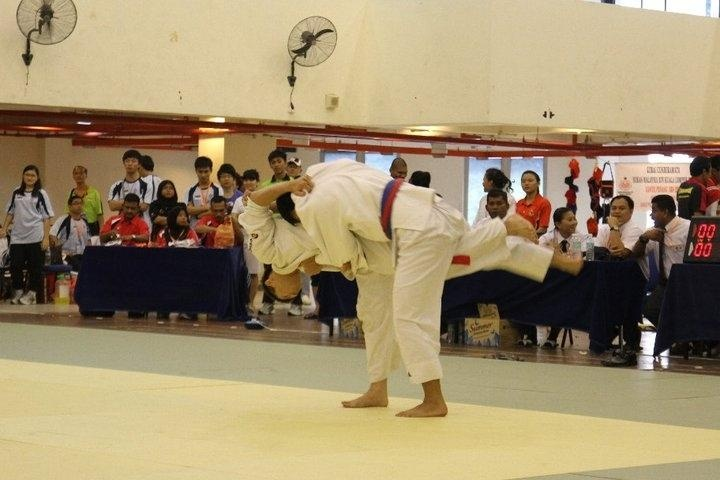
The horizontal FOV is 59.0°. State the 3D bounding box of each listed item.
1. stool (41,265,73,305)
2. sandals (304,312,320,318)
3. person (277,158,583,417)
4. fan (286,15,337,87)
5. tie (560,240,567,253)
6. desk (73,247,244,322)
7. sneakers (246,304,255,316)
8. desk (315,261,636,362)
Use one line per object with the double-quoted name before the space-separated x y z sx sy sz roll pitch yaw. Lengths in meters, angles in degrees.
"stool" -4.406 0.641 9.392 0.522 0.679 0.506 4 -7 -31
"sandals" -0.594 0.943 7.901 0.189 0.064 0.101 4 -3 -18
"person" 0.327 0.270 3.962 1.641 1.494 0.735 2 -2 -30
"fan" -0.746 -2.933 9.946 0.736 1.031 0.357 1 -2 -6
"tie" 2.004 0.065 6.232 0.065 0.108 0.027 -4 -16 37
"desk" -2.198 0.459 7.699 1.388 0.596 1.070 1 0 13
"sneakers" -1.311 0.839 7.597 0.127 0.135 0.359 1 -5 -12
"desk" 1.286 0.530 6.054 2.088 0.553 1.174 0 -1 26
